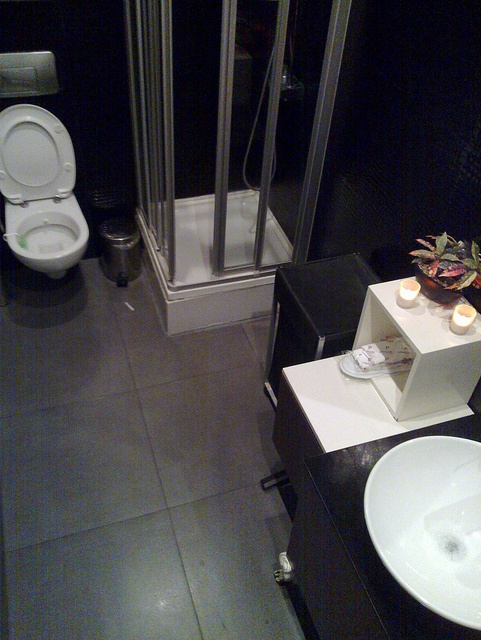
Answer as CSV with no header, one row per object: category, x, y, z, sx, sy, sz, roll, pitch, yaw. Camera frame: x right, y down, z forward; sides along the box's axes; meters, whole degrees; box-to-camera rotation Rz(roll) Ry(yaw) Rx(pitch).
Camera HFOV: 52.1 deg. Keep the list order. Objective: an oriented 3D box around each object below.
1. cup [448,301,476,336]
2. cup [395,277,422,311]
cup,0.522,-0.001,1.185,0.046,0.074,0.071,-2,53,4
cup,0.428,-0.068,1.290,0.052,0.080,0.076,-6,51,-3
